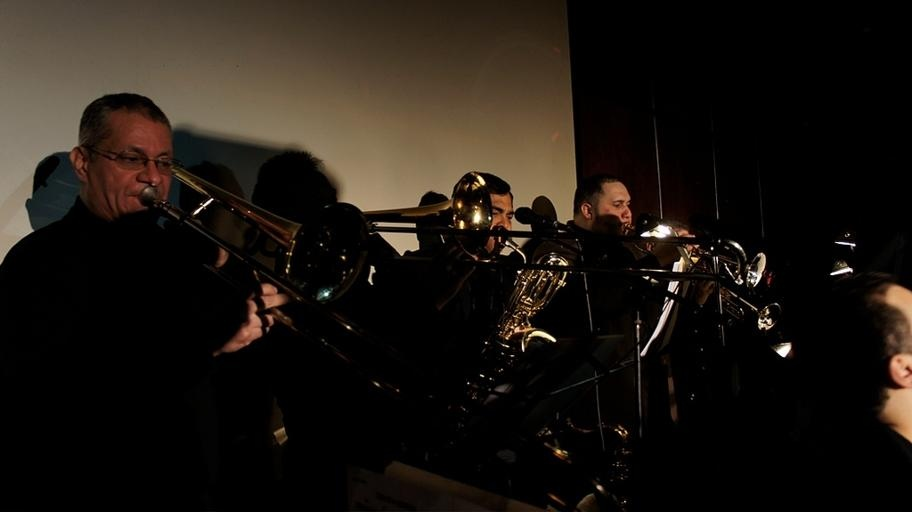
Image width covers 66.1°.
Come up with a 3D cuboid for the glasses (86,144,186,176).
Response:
[{"bbox_3d":[-1.823,-0.518,3.966,0.301,0.180,0.236,5,3,-23],"label":"glasses"}]
